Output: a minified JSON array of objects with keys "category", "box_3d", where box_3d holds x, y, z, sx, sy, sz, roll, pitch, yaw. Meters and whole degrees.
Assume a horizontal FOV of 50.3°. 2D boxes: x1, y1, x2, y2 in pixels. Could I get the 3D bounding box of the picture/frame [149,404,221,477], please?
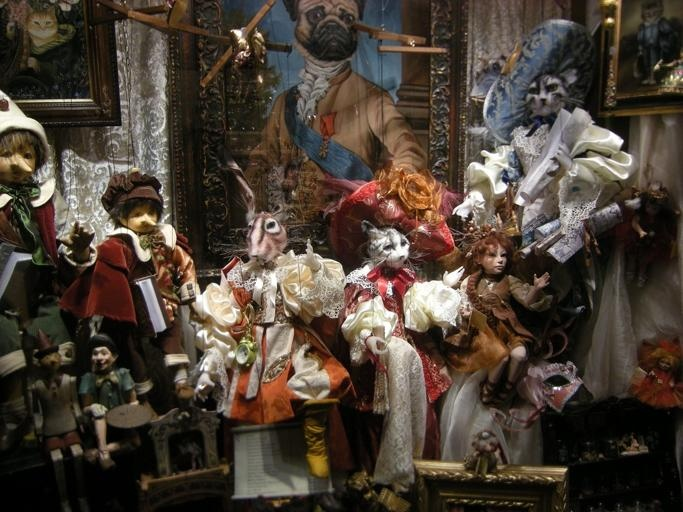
[{"category":"picture/frame","box_3d":[-0.734,0.884,3.426,0.297,0.308,0.052,-5,4,-16]}]
